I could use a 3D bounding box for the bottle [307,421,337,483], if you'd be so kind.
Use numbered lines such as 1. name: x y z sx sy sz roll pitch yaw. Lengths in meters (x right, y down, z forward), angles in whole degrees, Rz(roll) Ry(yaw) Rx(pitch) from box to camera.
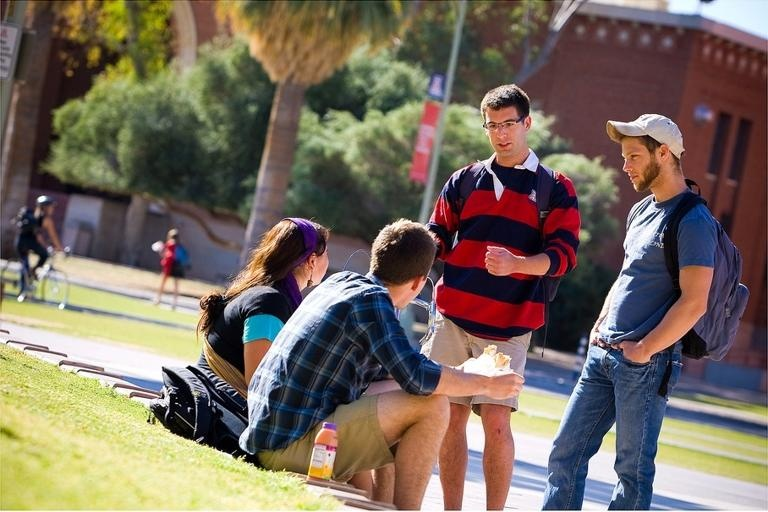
1. bottle: -0.437 1.457 6.320 0.193 0.431 0.178 12 -2 0

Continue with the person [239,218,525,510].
1. person: -0.172 0.738 6.408 1.532 2.170 0.461 13 -2 -9

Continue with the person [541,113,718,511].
1. person: 2.037 0.529 6.828 0.982 2.998 0.453 11 -2 16

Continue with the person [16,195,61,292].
1. person: -6.968 -0.209 16.788 0.873 2.134 1.462 13 -2 -21

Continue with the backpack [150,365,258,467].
1. backpack: -1.521 1.395 6.981 0.815 0.371 0.652 22 34 -13
